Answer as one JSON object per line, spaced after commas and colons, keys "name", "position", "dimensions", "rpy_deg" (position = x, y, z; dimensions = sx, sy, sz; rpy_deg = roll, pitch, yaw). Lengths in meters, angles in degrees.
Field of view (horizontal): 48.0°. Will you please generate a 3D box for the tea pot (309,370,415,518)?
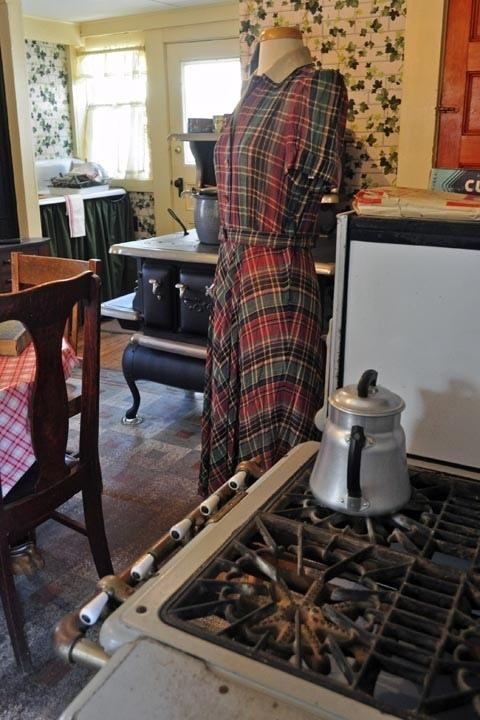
{"name": "tea pot", "position": [0.162, 0.087, 0.710], "dimensions": [0.116, 0.186, 0.176], "rpy_deg": [5, 24, 22]}
